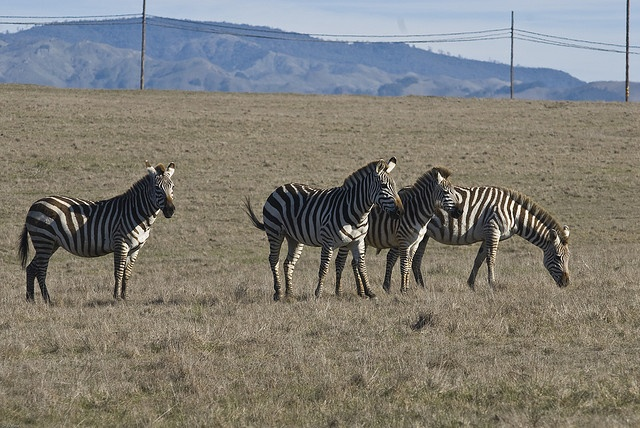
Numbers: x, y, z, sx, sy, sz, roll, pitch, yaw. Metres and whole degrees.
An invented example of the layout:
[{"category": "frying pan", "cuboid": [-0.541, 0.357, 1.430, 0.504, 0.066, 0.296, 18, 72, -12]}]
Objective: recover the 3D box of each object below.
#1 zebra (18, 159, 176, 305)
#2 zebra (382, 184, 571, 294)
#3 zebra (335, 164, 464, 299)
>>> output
[{"category": "zebra", "cuboid": [-10.180, 1.182, 52.900, 8.480, 5.898, 2.029, -4, -2, 17]}, {"category": "zebra", "cuboid": [7.394, 1.390, 54.214, 8.693, 5.138, 2.407, 3, 1, 5]}, {"category": "zebra", "cuboid": [3.755, 1.098, 53.574, 6.902, 5.244, 1.818, -10, -8, 44]}]
